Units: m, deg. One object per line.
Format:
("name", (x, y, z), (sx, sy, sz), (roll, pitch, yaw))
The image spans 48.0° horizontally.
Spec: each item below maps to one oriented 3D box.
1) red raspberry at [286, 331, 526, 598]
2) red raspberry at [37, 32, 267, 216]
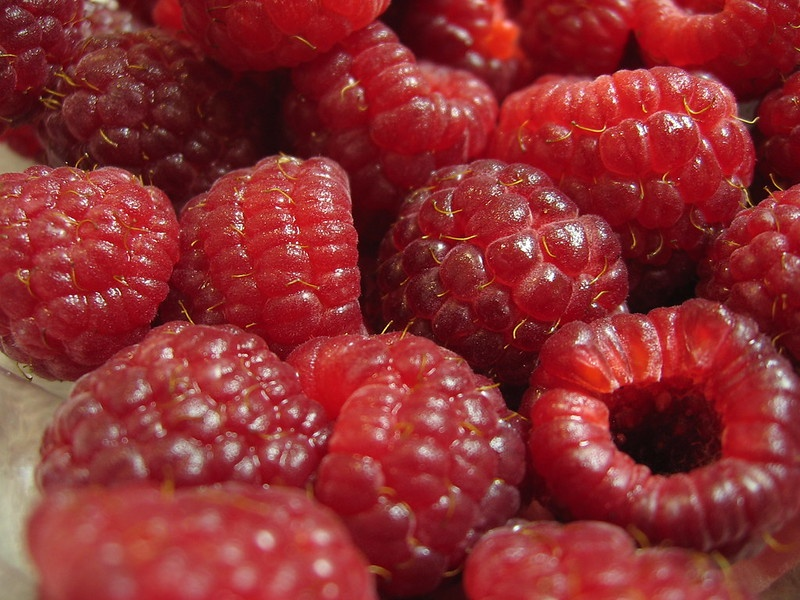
("red raspberry", (0.034, 0.181, 1.260), (0.269, 0.237, 0.340), (-12, 91, 22))
("red raspberry", (-0.407, -0.292, 1.465), (0.313, 0.195, 0.267), (-8, 67, -24))
